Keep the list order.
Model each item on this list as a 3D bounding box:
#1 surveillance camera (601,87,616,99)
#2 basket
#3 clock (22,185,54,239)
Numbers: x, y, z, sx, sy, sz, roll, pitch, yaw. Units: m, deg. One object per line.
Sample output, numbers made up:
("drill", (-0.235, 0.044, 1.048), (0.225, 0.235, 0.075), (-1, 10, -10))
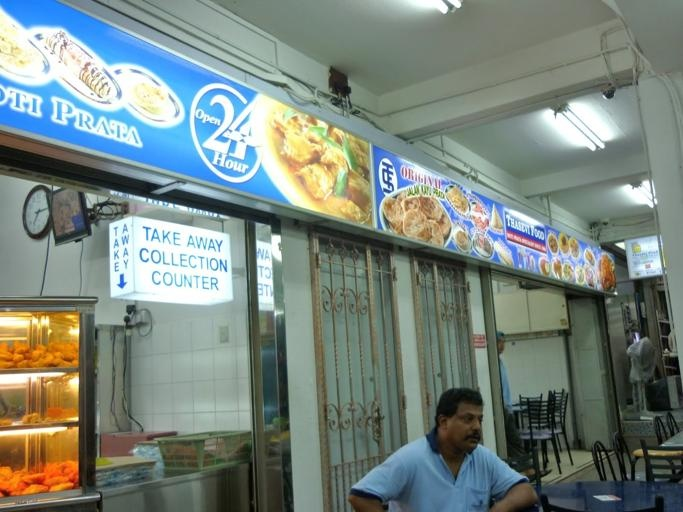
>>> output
("surveillance camera", (2.771, -1.677, 5.903), (0.184, 0.101, 0.268), (-3, 8, 28))
("basket", (-1.134, 1.630, 4.742), (0.409, 0.200, 0.549), (-16, -22, 40))
("clock", (-3.835, -0.558, 7.252), (0.636, 0.667, 0.070), (-15, -14, 29))
